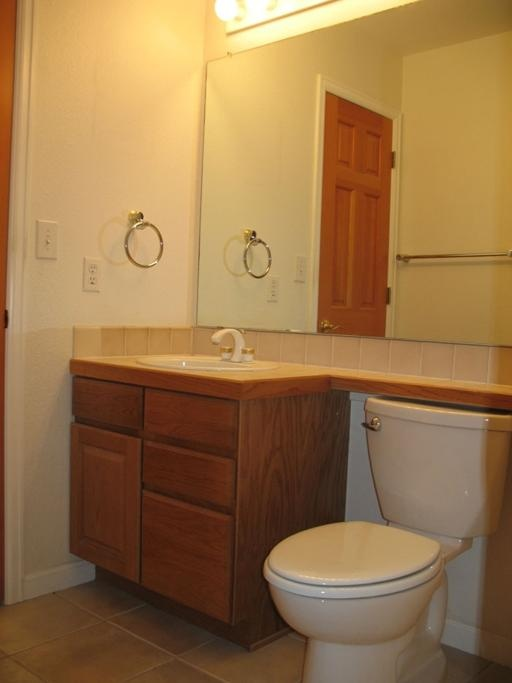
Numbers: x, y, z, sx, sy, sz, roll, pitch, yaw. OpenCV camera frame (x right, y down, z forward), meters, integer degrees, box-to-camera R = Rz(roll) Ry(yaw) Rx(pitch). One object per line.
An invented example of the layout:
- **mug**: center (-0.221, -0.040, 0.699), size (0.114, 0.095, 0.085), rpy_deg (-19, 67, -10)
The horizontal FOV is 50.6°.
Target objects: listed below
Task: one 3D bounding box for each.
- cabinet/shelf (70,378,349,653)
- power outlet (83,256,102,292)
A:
- **cabinet/shelf**: center (-0.160, 0.386, 1.693), size (0.579, 0.875, 0.831), rpy_deg (0, 1, -43)
- **power outlet**: center (-0.531, -0.214, 1.750), size (0.017, 0.110, 0.069), rpy_deg (0, 0, 24)
